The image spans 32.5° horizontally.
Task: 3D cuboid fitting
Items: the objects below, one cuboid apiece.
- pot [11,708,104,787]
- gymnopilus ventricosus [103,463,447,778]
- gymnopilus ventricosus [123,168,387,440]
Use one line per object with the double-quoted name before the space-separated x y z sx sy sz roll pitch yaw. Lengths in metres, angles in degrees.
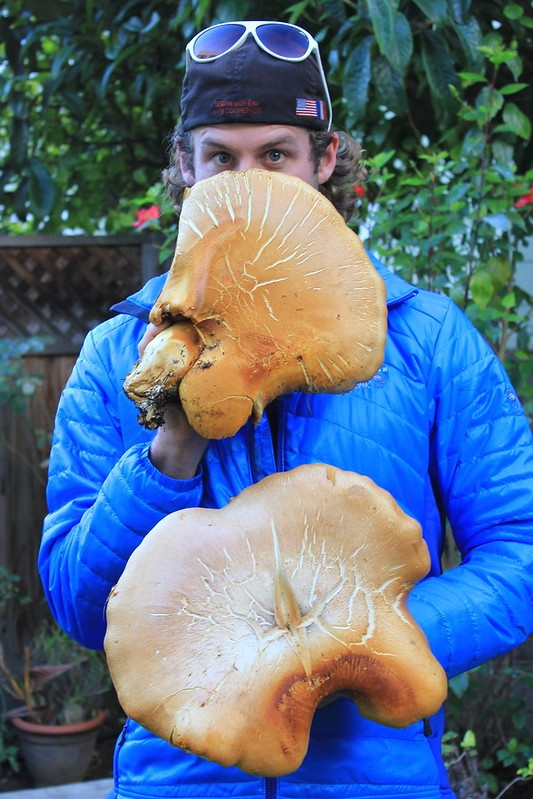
"pot" -0.925 1.525 3.983 0.340 0.213 0.315 0 -7 0
"gymnopilus ventricosus" 0.012 0.310 1.302 0.473 0.282 0.318 -17 36 -17
"gymnopilus ventricosus" -0.030 -0.145 1.336 0.403 0.309 0.258 -11 35 -8
